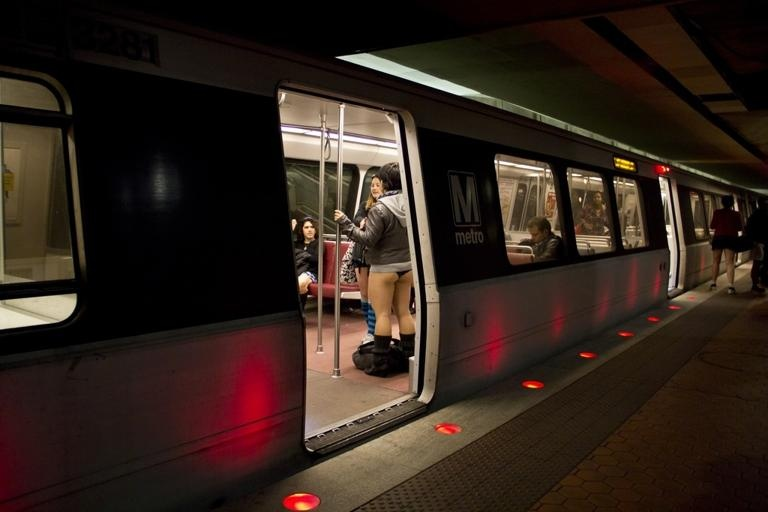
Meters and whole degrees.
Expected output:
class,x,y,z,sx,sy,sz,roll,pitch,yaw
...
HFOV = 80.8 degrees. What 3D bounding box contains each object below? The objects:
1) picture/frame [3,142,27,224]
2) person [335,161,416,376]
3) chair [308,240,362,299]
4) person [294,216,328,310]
class,x,y,z,sx,sy,sz,roll,pitch,yaw
picture/frame,-2.244,-0.429,2.729,0.111,0.467,0.039,0,7,-12
person,-0.057,0.172,5.270,0.862,2.484,0.434,1,7,-7
chair,-0.775,0.219,6.987,1.100,0.985,0.619,1,0,44
person,-1.339,0.151,7.736,0.381,1.603,0.804,0,7,-11
